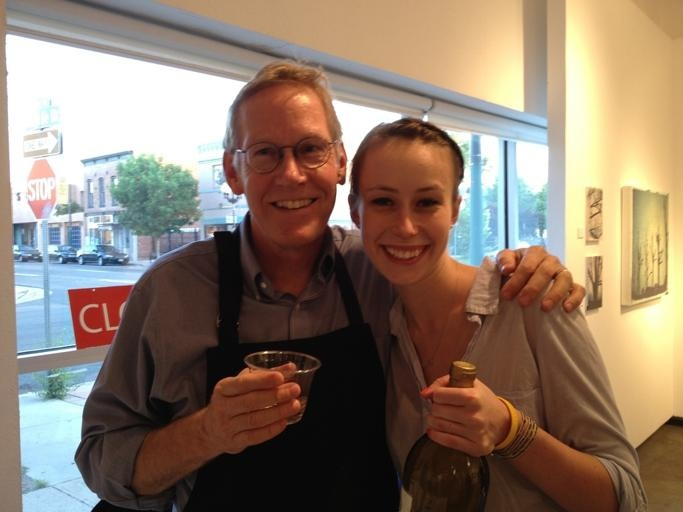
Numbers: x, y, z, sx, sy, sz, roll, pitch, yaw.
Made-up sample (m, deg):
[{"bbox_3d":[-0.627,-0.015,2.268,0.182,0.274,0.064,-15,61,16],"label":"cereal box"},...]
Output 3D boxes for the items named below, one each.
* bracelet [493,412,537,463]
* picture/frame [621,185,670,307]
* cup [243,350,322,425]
[{"bbox_3d":[0.581,0.577,1.782,0.131,0.071,0.150,-40,-13,25],"label":"bracelet"},{"bbox_3d":[2.991,-0.099,5.304,0.138,1.132,1.237,1,3,44],"label":"picture/frame"},{"bbox_3d":[-0.183,0.370,1.689,0.230,0.180,0.231,1,0,0],"label":"cup"}]
